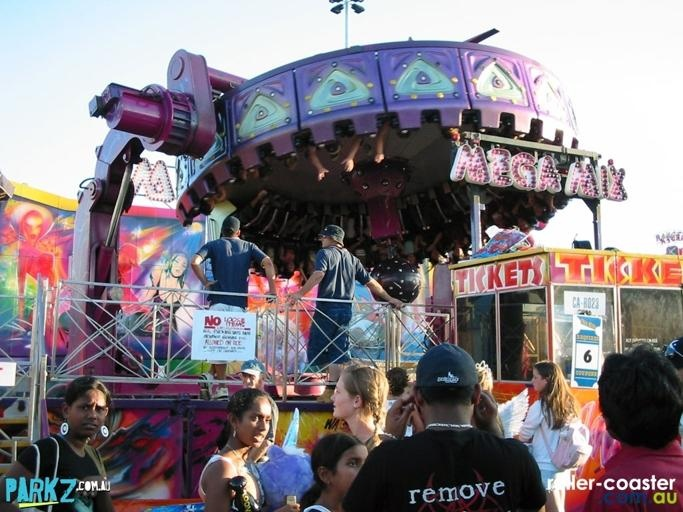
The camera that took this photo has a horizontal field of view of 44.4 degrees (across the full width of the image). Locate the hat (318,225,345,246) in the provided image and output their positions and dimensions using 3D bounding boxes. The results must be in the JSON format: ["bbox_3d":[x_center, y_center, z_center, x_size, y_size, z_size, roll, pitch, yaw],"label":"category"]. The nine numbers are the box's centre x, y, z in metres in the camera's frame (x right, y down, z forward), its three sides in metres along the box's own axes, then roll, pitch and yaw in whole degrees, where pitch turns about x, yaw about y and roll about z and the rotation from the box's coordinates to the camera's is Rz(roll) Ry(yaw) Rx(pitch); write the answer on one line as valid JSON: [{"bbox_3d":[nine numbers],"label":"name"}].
[{"bbox_3d":[-0.115,-0.377,12.462,0.366,0.229,0.277,20,-11,8],"label":"hat"}]
